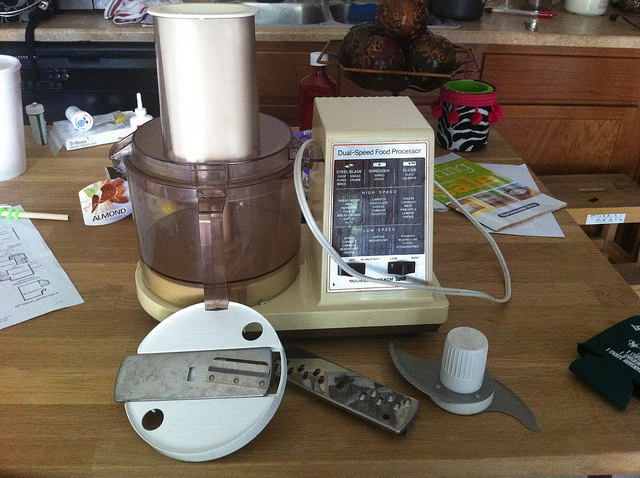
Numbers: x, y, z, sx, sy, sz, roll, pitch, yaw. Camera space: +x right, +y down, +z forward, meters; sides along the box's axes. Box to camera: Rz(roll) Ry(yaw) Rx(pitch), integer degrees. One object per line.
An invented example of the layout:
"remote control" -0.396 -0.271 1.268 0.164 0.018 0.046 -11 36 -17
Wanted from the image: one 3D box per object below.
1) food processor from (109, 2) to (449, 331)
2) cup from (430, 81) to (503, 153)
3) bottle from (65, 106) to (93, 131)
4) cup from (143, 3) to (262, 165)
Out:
"food processor" -0.050 -0.168 0.959 0.590 0.474 0.416 -1 39 -3
"cup" 0.377 -0.307 1.445 0.163 0.135 0.167 -4 25 2
"bottle" -0.585 -0.297 1.403 0.055 0.045 0.073 -12 34 -20
"cup" -0.136 -0.239 0.909 0.221 0.272 0.221 1 30 -1
